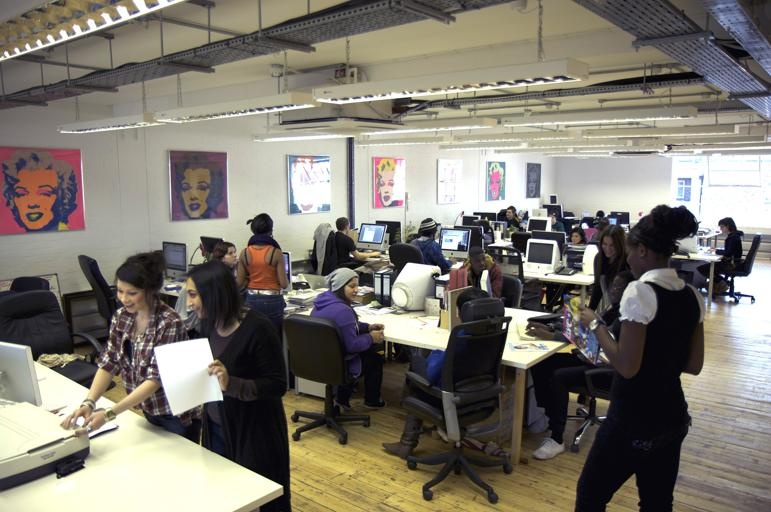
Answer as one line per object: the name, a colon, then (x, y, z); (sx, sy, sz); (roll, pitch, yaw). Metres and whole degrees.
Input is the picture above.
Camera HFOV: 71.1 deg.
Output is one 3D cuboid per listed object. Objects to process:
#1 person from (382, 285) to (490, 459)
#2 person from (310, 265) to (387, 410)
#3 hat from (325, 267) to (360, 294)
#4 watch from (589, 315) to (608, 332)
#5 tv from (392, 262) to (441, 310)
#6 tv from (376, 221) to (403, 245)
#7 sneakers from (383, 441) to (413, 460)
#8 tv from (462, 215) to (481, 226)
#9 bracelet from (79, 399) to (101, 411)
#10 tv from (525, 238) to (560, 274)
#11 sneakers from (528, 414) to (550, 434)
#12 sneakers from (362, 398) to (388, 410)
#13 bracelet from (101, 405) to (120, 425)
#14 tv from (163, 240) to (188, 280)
person: (0.451, 1.068, 4.922); (0.643, 1.567, 0.870); (-9, 11, -41)
person: (-0.362, 0.879, 5.421); (0.881, 1.456, 0.711); (0, 7, -21)
hat: (-0.425, 0.232, 5.266); (0.284, 0.216, 0.200); (2, 11, 9)
watch: (1.305, 0.412, 3.347); (0.097, 0.100, 0.064); (9, 37, -20)
tv: (0.313, 0.331, 6.056); (0.494, 0.511, 0.540); (6, 8, 29)
tv: (0.052, -0.438, 10.282); (0.498, 0.491, 0.268); (5, 11, 33)
sneakers: (0.110, 1.774, 5.094); (0.118, 0.194, 0.289); (-3, 13, -42)
tv: (1.975, -0.832, 12.418); (0.361, 0.341, 0.254); (7, 11, 34)
bracelet: (-1.957, 0.976, 3.548); (0.097, 0.058, 0.102); (3, -1, -2)
tv: (2.485, -0.023, 8.544); (0.518, 0.521, 0.438); (6, 16, 35)
sneakers: (1.512, 1.650, 5.433); (0.213, 0.207, 0.155); (-5, 8, -11)
sneakers: (-0.117, 1.581, 5.837); (0.231, 0.107, 0.093); (-3, 5, -39)
bracelet: (-1.779, 1.016, 3.482); (0.074, 0.086, 0.086); (-7, 10, -33)
tv: (-3.104, 0.051, 7.875); (0.166, 0.502, 0.543); (-1, -5, 16)
